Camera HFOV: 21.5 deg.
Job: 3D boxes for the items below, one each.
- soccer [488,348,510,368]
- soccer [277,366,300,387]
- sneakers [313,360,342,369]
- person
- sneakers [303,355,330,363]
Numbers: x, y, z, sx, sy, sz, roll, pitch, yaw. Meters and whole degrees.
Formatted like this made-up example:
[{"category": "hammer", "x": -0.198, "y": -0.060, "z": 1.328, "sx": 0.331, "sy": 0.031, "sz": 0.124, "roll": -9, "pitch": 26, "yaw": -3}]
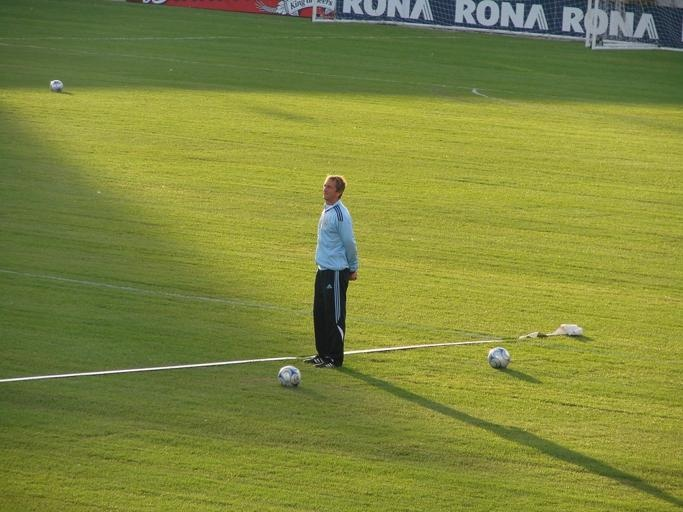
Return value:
[{"category": "soccer", "x": 3.086, "y": 1.983, "z": 35.660, "sx": 0.445, "sy": 0.396, "sz": 0.276, "roll": 3, "pitch": 11, "yaw": 4}, {"category": "soccer", "x": -1.042, "y": 2.309, "z": 34.899, "sx": 0.447, "sy": 0.389, "sz": 0.226, "roll": 2, "pitch": 11, "yaw": -3}, {"category": "sneakers", "x": -0.311, "y": 2.102, "z": 35.408, "sx": 0.579, "sy": 0.208, "sz": 0.190, "roll": -2, "pitch": -1, "yaw": 3}, {"category": "person", "x": -0.205, "y": 0.266, "z": 35.237, "sx": 0.907, "sy": 3.781, "sz": 0.493, "roll": 3, "pitch": 11, "yaw": 0}, {"category": "sneakers", "x": -0.532, "y": 1.981, "z": 35.502, "sx": 0.546, "sy": 0.211, "sz": 0.179, "roll": 3, "pitch": -1, "yaw": 7}]
